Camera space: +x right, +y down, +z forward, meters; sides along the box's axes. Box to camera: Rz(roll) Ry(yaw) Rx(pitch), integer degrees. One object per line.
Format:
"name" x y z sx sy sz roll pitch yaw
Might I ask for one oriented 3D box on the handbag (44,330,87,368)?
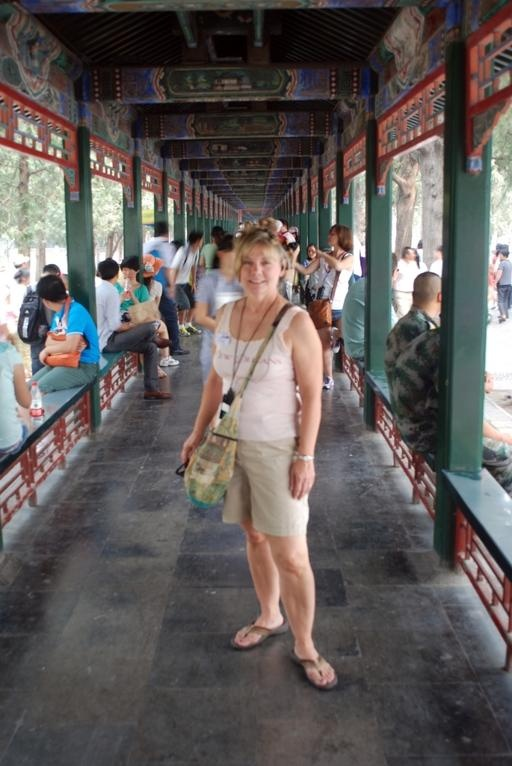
"handbag" -1.661 -0.259 5.056 0.298 0.314 0.123 4 -4 19

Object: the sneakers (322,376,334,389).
"sneakers" 0.827 0.002 6.607 0.155 0.206 0.469 -1 0 7

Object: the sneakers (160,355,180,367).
"sneakers" -1.311 -0.325 8.600 0.303 0.211 0.111 -9 20 -29

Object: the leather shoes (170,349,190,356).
"leather shoes" -1.263 -0.517 9.551 0.321 0.132 0.109 -3 13 -17

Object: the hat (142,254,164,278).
"hat" -1.537 -1.747 8.475 0.296 0.308 0.128 -8 11 -32

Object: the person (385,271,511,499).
"person" 1.067 -0.030 3.265 0.620 1.209 0.641 -3 5 -21

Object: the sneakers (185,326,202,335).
"sneakers" -1.335 -1.112 12.229 0.389 0.174 0.145 -4 17 -20

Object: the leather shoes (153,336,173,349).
"leather shoes" -1.180 -0.506 7.141 0.260 0.089 0.184 -21 -18 -29

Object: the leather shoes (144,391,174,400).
"leather shoes" -1.153 0.152 6.820 0.335 0.145 0.115 -2 5 -5

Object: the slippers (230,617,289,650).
"slippers" 0.000 0.965 2.217 0.156 0.054 0.080 -6 8 -34
